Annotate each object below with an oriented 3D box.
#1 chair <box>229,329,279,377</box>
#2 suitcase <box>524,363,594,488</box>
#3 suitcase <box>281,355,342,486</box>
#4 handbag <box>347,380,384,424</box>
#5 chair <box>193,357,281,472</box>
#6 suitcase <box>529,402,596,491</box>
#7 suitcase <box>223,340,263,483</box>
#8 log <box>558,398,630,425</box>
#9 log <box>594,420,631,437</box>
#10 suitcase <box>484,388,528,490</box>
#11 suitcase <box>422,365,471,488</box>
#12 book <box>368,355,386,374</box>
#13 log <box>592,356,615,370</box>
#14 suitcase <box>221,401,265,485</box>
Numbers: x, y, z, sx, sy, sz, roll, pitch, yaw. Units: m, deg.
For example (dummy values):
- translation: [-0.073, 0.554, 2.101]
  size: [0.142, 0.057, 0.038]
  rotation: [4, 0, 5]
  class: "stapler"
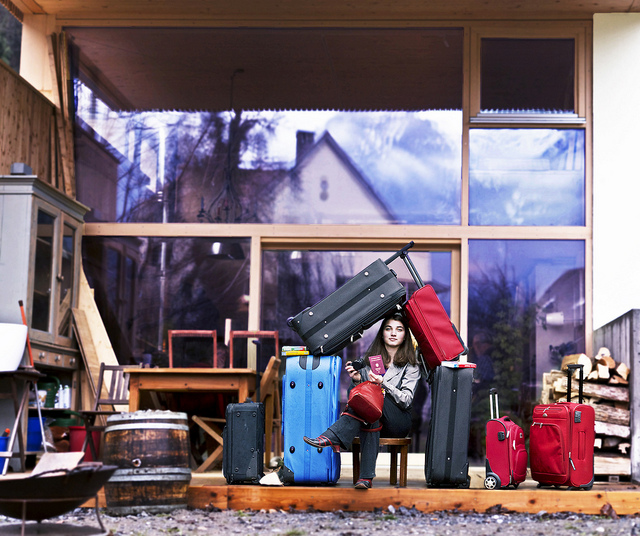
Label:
- translation: [-0.700, 0.769, 10.688]
  size: [0.244, 0.401, 0.251]
  rotation: [-16, -5, 34]
  class: "chair"
- translation: [1.854, 1.206, 8.778]
  size: [0.372, 1.030, 0.460]
  rotation: [4, -7, -21]
  class: "suitcase"
- translation: [-0.057, 1.096, 8.479]
  size: [0.422, 0.922, 0.141]
  rotation: [-1, -11, 2]
  class: "suitcase"
- translation: [0.375, 0.935, 8.296]
  size: [0.268, 0.213, 0.298]
  rotation: [22, 28, -5]
  class: "handbag"
- translation: [-0.603, 1.110, 9.787]
  size: [0.506, 1.072, 0.758]
  rotation: [-1, 36, -5]
  class: "chair"
- translation: [1.833, 1.341, 8.620]
  size: [0.272, 0.593, 0.411]
  rotation: [13, -19, -21]
  class: "suitcase"
- translation: [-0.531, 1.116, 8.690]
  size: [0.386, 1.023, 0.310]
  rotation: [4, -8, -38]
  class: "suitcase"
- translation: [2.338, 1.184, 9.563]
  size: [0.464, 0.257, 0.381]
  rotation: [6, -3, 0]
  class: "log"
- translation: [2.386, 1.306, 9.354]
  size: [0.198, 0.067, 0.201]
  rotation: [3, -6, 32]
  class: "log"
- translation: [1.408, 1.263, 8.588]
  size: [0.242, 0.805, 0.309]
  rotation: [2, -4, 7]
  class: "suitcase"
- translation: [0.959, 1.172, 8.525]
  size: [0.351, 0.893, 0.231]
  rotation: [-2, -11, 7]
  class: "suitcase"
- translation: [0.430, 0.705, 8.478]
  size: [0.124, 0.132, 0.088]
  rotation: [3, -13, -16]
  class: "book"
- translation: [2.393, 0.778, 9.595]
  size: [0.117, 0.117, 0.192]
  rotation: [20, -23, -24]
  class: "log"
- translation: [-0.604, 1.275, 8.680]
  size: [0.303, 0.659, 0.374]
  rotation: [1, 5, -2]
  class: "suitcase"
